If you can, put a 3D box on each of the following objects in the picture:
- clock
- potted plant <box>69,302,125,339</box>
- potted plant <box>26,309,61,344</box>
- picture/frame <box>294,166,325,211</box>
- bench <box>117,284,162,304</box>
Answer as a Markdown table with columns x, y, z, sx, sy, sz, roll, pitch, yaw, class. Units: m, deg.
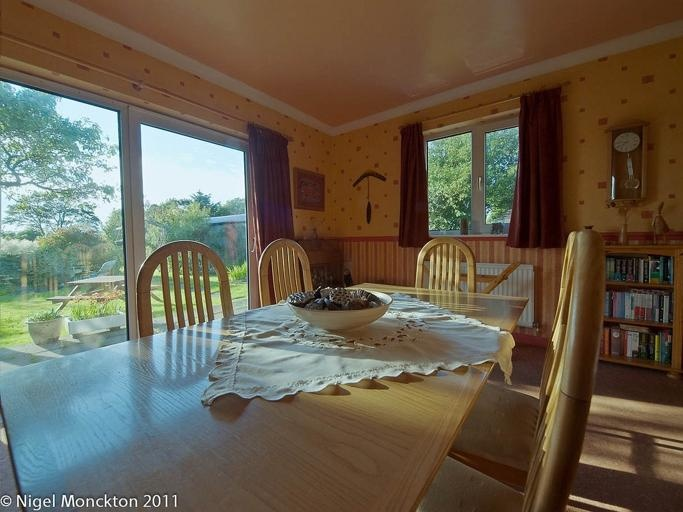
| x | y | z | sx | sy | sz | roll | pitch | yaw | class |
| --- | --- | --- | --- | --- | --- | --- | --- | --- | --- |
| 2.386 | -0.755 | 3.561 | 0.305 | 0.756 | 0.104 | 0 | 37 | 34 | clock |
| -1.882 | 0.490 | 3.408 | 0.470 | 0.292 | 0.245 | -7 | 1 | 9 | potted plant |
| -2.194 | 0.517 | 3.156 | 0.257 | 0.279 | 0.252 | 6 | 7 | -27 | potted plant |
| -0.375 | -0.788 | 5.177 | 0.045 | 0.470 | 0.610 | 2 | 3 | 33 | picture/frame |
| -1.389 | 0.254 | 2.899 | 0.178 | 0.044 | 0.109 | 15 | 7 | -44 | bench |
